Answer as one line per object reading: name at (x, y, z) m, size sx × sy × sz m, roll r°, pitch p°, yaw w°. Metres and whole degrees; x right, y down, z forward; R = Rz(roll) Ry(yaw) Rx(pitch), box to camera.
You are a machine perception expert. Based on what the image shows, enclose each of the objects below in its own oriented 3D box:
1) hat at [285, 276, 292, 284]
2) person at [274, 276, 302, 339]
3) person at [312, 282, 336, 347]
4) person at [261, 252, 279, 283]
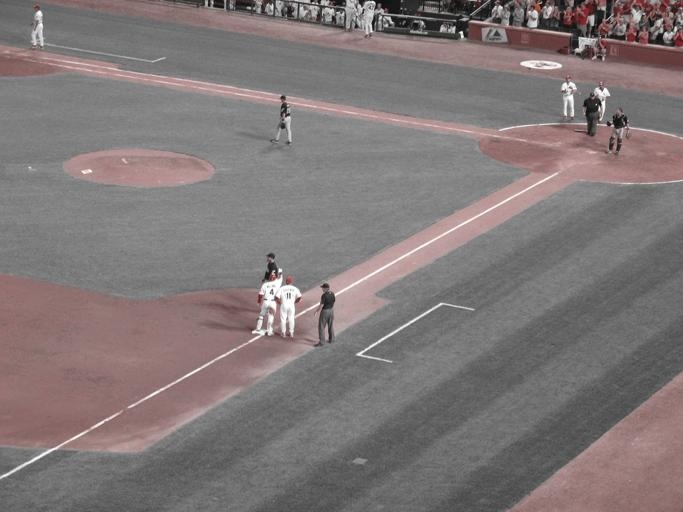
hat at (-1.687, 0.749, 40.572) m, size 0.250 × 0.168 × 0.387 m, roll 13°, pitch -1°, yaw 1°
person at (-1.696, 1.543, 40.088) m, size 0.689 × 2.010 × 0.572 m, roll 3°, pitch 18°, yaw -3°
person at (-0.484, 1.767, 39.719) m, size 0.568 × 1.974 × 0.738 m, roll 4°, pitch 18°, yaw -2°
person at (-2.370, 0.410, 41.880) m, size 0.495 × 1.525 × 0.527 m, roll 8°, pitch 20°, yaw 12°
